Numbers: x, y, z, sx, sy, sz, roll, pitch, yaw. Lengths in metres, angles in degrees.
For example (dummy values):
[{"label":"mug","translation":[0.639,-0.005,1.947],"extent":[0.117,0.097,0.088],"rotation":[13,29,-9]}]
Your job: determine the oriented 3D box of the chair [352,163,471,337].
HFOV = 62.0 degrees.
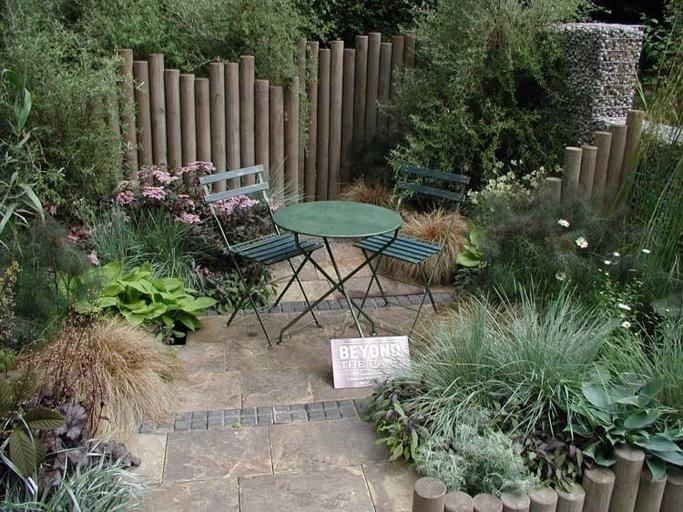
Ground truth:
[{"label":"chair","translation":[0.669,-0.014,5.103],"extent":[0.828,1.586,0.988],"rotation":[20,34,32]}]
